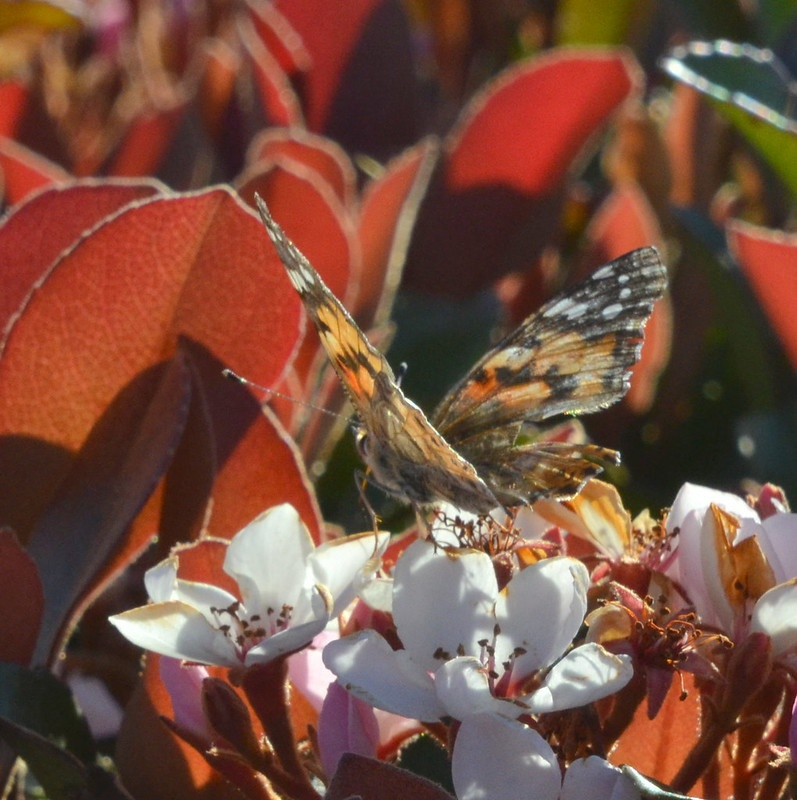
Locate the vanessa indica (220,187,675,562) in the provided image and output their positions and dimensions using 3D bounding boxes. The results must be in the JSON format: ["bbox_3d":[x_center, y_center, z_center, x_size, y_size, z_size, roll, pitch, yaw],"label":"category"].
[{"bbox_3d":[0.025,-0.017,1.330,0.285,0.221,0.193,10,-18,-17],"label":"vanessa indica"}]
